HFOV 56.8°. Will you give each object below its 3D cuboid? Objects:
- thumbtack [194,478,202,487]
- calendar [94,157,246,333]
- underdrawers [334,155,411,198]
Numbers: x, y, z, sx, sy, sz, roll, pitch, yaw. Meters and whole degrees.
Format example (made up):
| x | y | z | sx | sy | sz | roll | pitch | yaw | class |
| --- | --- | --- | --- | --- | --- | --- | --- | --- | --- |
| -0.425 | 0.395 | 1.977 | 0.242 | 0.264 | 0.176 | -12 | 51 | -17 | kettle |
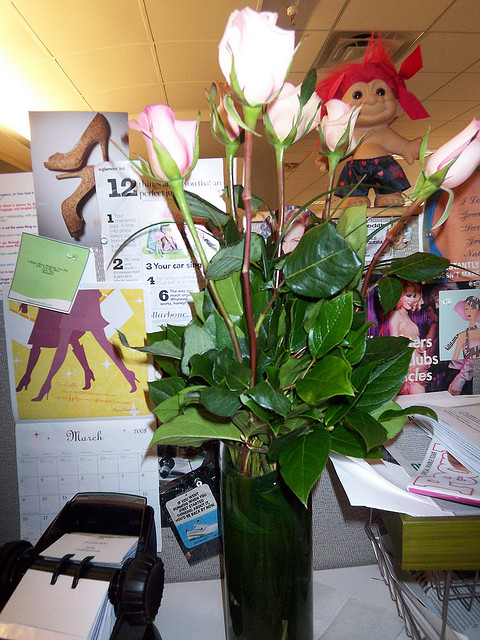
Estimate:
| x | y | z | sx | sy | sz | roll | pitch | yaw | class |
| --- | --- | --- | --- | --- | --- | --- | --- | --- | --- |
| -0.060 | 0.230 | 0.633 | 0.008 | 0.010 | 0.004 | -2 | 2 | 10 | thumbtack |
| -0.093 | -0.100 | 0.624 | 0.208 | 0.262 | 0.009 | -2 | -13 | -12 | calendar |
| 0.310 | -0.324 | 1.031 | 0.176 | 0.099 | 0.063 | 4 | 20 | 27 | underdrawers |
